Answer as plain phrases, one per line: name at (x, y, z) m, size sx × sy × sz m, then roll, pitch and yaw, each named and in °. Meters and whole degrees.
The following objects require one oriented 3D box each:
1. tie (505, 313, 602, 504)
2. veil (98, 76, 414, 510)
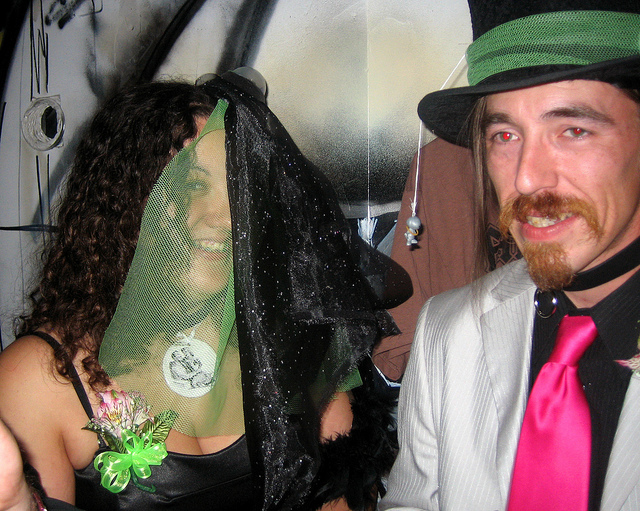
tie at (0.596, 0.385, 2.015) m, size 0.222 × 0.474 × 0.116 m, roll -2°, pitch -7°, yaw 22°
veil at (-0.158, 0.050, 2.781) m, size 0.929 × 1.660 × 1.160 m, roll 6°, pitch 10°, yaw 22°
